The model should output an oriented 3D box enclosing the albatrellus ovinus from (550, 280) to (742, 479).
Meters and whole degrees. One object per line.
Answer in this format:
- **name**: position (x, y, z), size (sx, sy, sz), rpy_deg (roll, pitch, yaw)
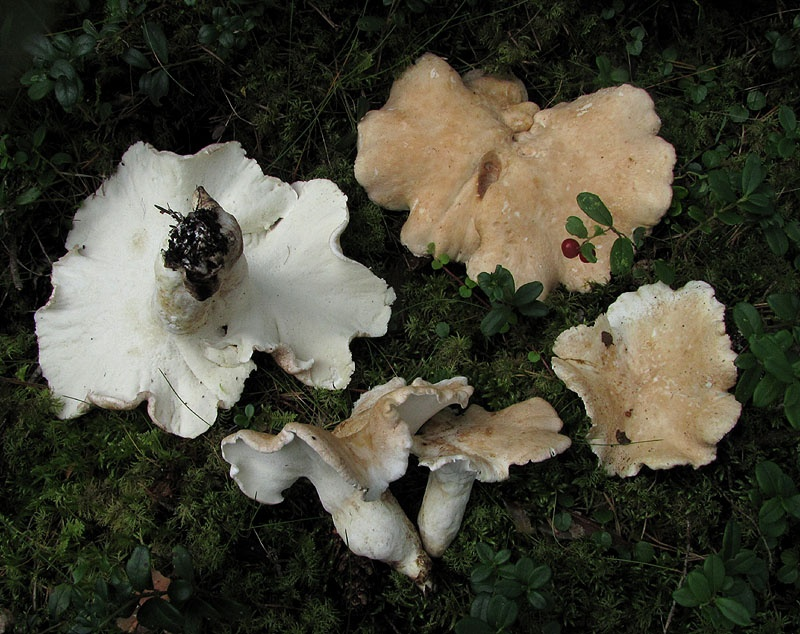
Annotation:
- **albatrellus ovinus**: position (1.586, 0.389, 4.680), size (1.121, 0.296, 1.218), rpy_deg (-7, 84, -1)
